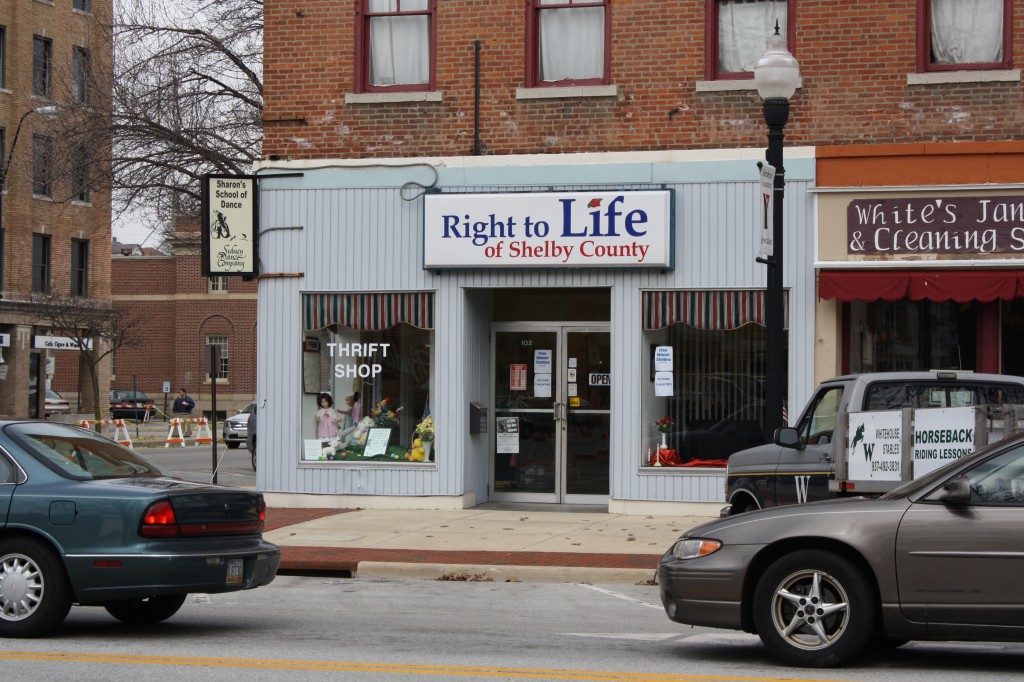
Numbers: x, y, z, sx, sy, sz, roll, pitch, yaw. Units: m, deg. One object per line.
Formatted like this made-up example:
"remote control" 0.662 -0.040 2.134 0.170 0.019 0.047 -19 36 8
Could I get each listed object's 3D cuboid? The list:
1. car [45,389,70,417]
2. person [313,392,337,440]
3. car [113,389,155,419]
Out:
"car" -19.098 2.517 67.195 0.801 0.638 1.889 0 5 -9
"person" -3.285 1.269 28.232 0.404 0.800 0.133 -1 2 -11
"car" -18.745 3.091 79.055 1.610 1.087 3.507 0 3 -4
